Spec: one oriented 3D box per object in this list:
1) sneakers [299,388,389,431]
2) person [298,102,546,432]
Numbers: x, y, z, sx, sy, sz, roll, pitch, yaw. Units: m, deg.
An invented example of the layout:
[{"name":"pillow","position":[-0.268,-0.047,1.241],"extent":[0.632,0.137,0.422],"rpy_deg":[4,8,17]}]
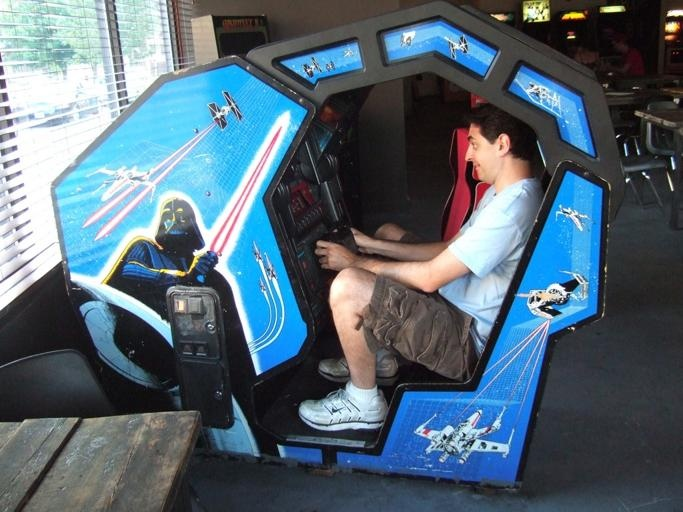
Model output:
[{"name":"sneakers","position":[0.018,0.678,2.186],"extent":[0.401,0.207,0.162],"rpy_deg":[2,13,4]},{"name":"person","position":[0.345,0.013,2.167],"extent":[0.980,1.325,0.767],"rpy_deg":[3,22,6]}]
